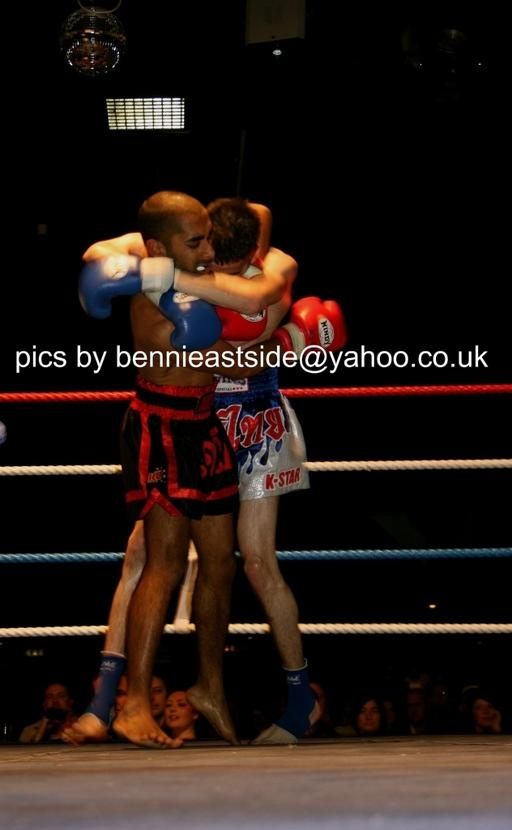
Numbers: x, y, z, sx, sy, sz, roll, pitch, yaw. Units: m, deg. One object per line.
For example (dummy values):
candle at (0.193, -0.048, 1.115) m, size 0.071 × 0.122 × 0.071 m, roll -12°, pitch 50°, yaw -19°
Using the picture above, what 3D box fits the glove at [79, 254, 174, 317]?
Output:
glove at (-0.263, -0.266, 1.563) m, size 0.188 × 0.113 × 0.079 m, roll -2°, pitch 33°, yaw -7°

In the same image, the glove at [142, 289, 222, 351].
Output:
glove at (-0.129, -0.197, 1.568) m, size 0.108 × 0.131 × 0.052 m, roll -19°, pitch 21°, yaw -13°

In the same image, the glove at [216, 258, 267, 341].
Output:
glove at (-0.037, -0.258, 1.740) m, size 0.067 × 0.123 × 0.165 m, roll 19°, pitch 44°, yaw -3°
